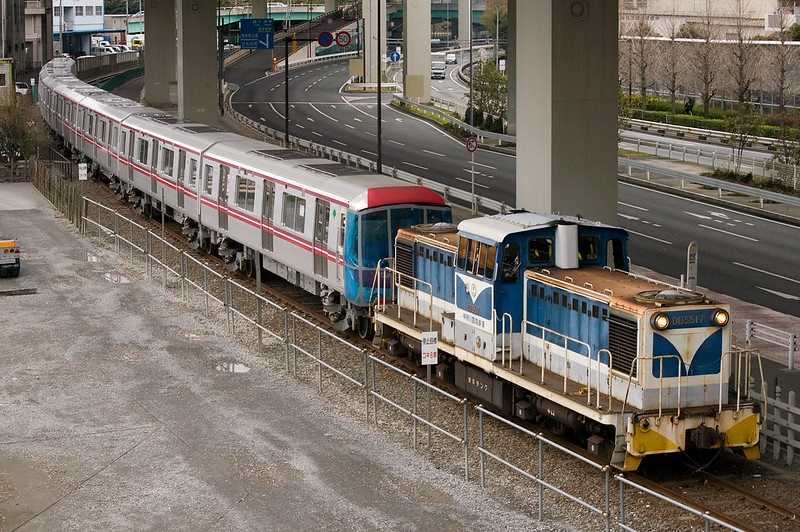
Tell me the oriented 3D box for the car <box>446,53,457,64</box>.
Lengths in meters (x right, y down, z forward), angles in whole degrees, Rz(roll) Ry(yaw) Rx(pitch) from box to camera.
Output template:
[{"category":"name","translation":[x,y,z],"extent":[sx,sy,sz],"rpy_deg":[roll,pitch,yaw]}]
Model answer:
[{"category":"car","translation":[7.627,-30.364,132.192],"extent":[1.031,1.007,2.541],"rpy_deg":[0,10,-1]}]
